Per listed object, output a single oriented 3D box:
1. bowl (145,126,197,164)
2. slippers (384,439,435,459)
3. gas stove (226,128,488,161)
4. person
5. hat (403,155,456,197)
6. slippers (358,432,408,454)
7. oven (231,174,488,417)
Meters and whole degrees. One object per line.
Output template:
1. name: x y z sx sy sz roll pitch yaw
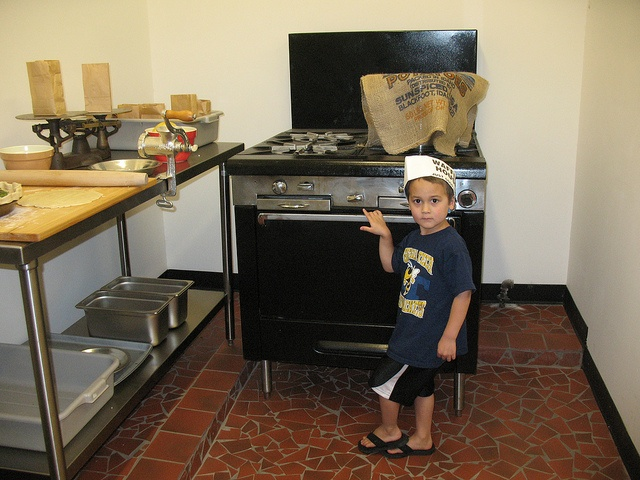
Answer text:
1. bowl: -0.610 -0.403 2.029 0.204 0.132 0.204 0 13 0
2. slippers: 0.347 0.813 1.920 0.175 0.044 0.068 0 5 -7
3. gas stove: 0.195 -0.439 2.222 0.986 0.082 0.680 3 16 15
4. person: 0.354 0.267 1.845 0.412 1.157 0.279 2 16 14
5. hat: 0.382 -0.226 1.708 0.159 0.088 0.129 5 1 23
6. slippers: 0.252 0.796 1.936 0.151 0.042 0.085 -1 10 -6
7. oven: 0.254 0.172 2.249 1.074 0.909 0.715 1 2 18
